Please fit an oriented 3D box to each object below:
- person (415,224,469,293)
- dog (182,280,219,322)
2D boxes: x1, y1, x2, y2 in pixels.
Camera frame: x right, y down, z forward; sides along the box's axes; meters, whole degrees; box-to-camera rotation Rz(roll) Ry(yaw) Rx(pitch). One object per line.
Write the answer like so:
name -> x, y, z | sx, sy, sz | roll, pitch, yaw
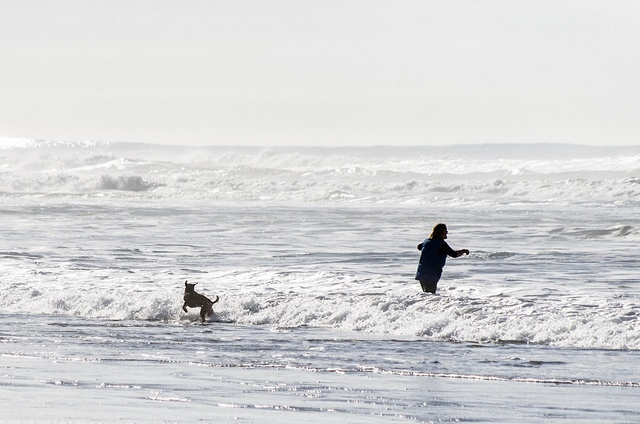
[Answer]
person -> 2.686, 1.164, 28.235 | 0.904, 1.745, 1.357 | 2, 9, 4
dog -> -2.783, 2.091, 28.980 | 0.814, 0.908, 0.678 | 0, 9, -5
